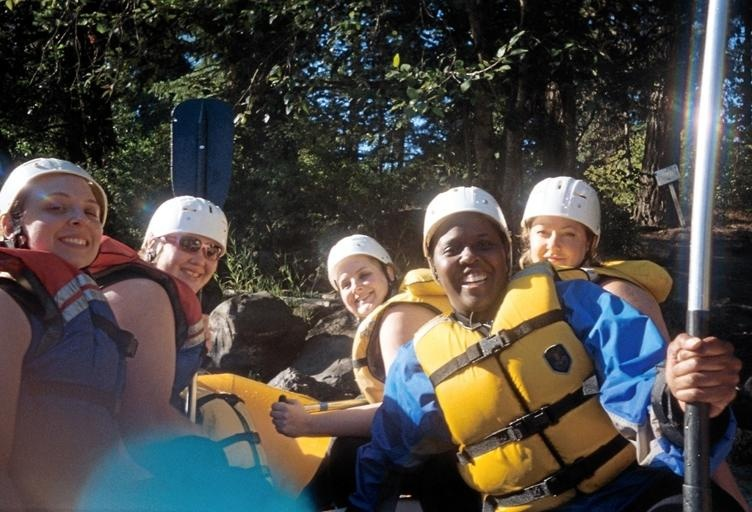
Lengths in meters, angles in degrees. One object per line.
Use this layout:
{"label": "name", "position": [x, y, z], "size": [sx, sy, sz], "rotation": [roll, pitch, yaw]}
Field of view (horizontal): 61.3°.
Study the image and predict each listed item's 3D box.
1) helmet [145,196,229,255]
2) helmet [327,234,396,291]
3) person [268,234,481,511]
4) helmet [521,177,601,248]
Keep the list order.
{"label": "helmet", "position": [-1.303, -0.219, 4.466], "size": [0.485, 0.421, 0.360], "rotation": [-19, -29, 20]}
{"label": "helmet", "position": [-0.126, 0.022, 4.912], "size": [0.341, 0.505, 0.391], "rotation": [-4, 31, 7]}
{"label": "person", "position": [-0.072, 0.881, 4.657], "size": [1.096, 0.833, 1.778], "rotation": [0, 32, -16]}
{"label": "helmet", "position": [1.281, -0.365, 4.324], "size": [0.351, 0.405, 0.497], "rotation": [4, -25, 23]}
